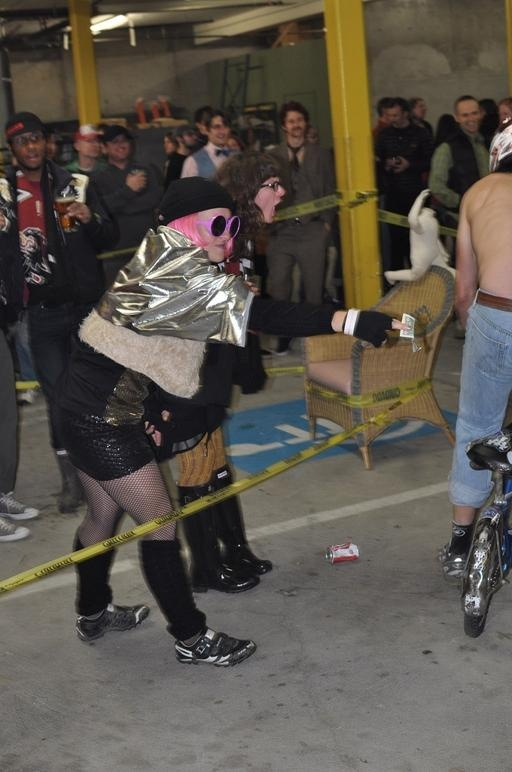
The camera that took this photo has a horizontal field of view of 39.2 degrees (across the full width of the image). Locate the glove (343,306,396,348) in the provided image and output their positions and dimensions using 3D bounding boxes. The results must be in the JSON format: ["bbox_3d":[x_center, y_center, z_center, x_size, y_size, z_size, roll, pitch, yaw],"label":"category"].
[{"bbox_3d":[0.302,-0.153,1.931,0.132,0.110,0.174,-6,8,7],"label":"glove"}]

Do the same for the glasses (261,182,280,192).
[{"bbox_3d":[0.063,-0.921,3.299,0.089,0.024,0.082,3,10,21],"label":"glasses"}]

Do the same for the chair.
[{"bbox_3d":[0.832,-0.206,4.773,1.011,1.003,0.909,-17,20,-33],"label":"chair"}]

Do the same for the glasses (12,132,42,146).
[{"bbox_3d":[-1.226,-1.325,3.866,0.101,0.033,0.100,-8,8,-7],"label":"glasses"}]

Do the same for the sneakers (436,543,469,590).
[{"bbox_3d":[0.773,0.718,2.878,0.110,0.179,0.161,-7,-14,34],"label":"sneakers"}]

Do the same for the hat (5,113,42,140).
[{"bbox_3d":[-1.282,-1.413,3.968,0.179,0.113,0.210,-17,13,8],"label":"hat"}]

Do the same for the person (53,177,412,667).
[{"bbox_3d":[-0.202,0.180,2.285,1.344,1.646,0.506,1,13,45],"label":"person"}]

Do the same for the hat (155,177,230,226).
[{"bbox_3d":[-0.191,-0.567,2.191,0.193,0.106,0.174,-16,13,8],"label":"hat"}]

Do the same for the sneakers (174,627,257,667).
[{"bbox_3d":[-0.142,0.895,2.441,0.304,0.114,0.110,-2,20,-2],"label":"sneakers"}]

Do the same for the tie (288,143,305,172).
[{"bbox_3d":[0.419,-2.317,7.290,0.154,0.229,0.059,3,10,9],"label":"tie"}]
